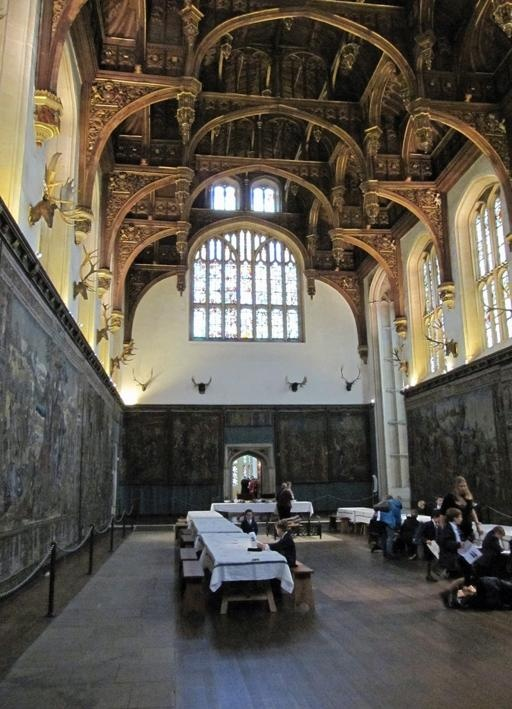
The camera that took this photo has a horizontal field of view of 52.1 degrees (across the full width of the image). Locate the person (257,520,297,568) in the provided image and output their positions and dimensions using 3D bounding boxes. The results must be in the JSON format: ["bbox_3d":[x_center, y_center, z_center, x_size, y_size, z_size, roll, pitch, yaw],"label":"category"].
[{"bbox_3d":[0.315,2.719,7.236,0.455,0.790,0.332,-6,-4,4],"label":"person"}]

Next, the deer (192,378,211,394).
[{"bbox_3d":[-2.307,1.329,22.184,0.798,0.733,0.271,-2,-11,-5],"label":"deer"}]

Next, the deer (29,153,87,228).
[{"bbox_3d":[-2.905,-2.328,7.428,0.568,1.032,0.787,-4,5,-27],"label":"deer"}]

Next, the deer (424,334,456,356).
[{"bbox_3d":[5.830,-0.305,16.568,0.437,0.553,0.625,13,0,-9],"label":"deer"}]

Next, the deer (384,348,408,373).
[{"bbox_3d":[5.757,0.283,21.601,0.453,0.991,0.817,0,-14,-7],"label":"deer"}]
